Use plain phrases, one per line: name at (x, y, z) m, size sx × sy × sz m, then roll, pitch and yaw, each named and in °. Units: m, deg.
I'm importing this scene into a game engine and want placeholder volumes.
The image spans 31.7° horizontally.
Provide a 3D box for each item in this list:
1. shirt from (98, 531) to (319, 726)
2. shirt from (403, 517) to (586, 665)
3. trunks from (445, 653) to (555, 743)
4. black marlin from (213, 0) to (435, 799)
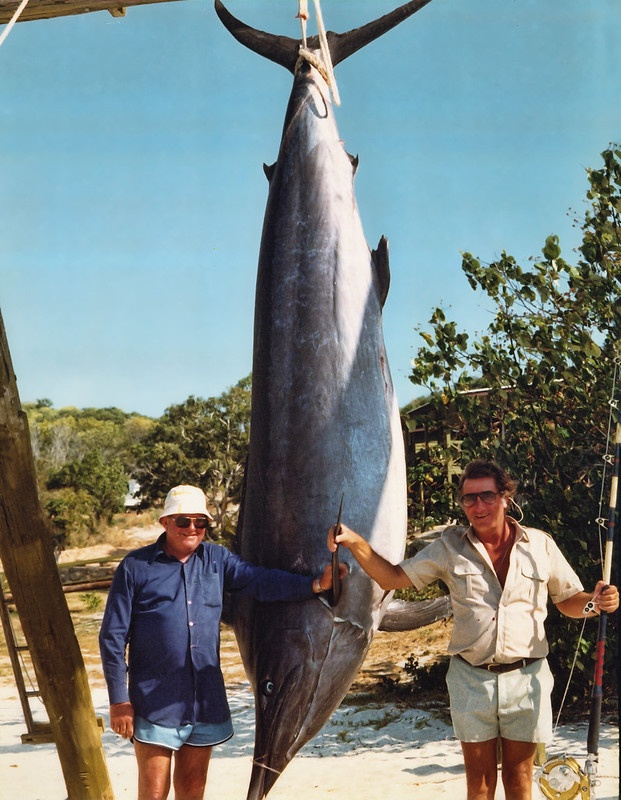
shirt at (-0.298, 0.741, 3.464) m, size 0.799 × 0.555 × 0.247 m, roll 3°, pitch -15°, yaw -22°
shirt at (0.535, 0.581, 3.296) m, size 0.548 × 0.410 × 0.191 m, roll 2°, pitch -2°, yaw -1°
trunks at (0.558, 0.902, 3.284) m, size 0.333 × 0.273 × 0.190 m, roll -3°, pitch -6°, yaw 9°
black marlin at (0.049, 0.096, 3.651) m, size 0.804 × 2.532 × 0.620 m, roll 1°, pitch -5°, yaw 35°
